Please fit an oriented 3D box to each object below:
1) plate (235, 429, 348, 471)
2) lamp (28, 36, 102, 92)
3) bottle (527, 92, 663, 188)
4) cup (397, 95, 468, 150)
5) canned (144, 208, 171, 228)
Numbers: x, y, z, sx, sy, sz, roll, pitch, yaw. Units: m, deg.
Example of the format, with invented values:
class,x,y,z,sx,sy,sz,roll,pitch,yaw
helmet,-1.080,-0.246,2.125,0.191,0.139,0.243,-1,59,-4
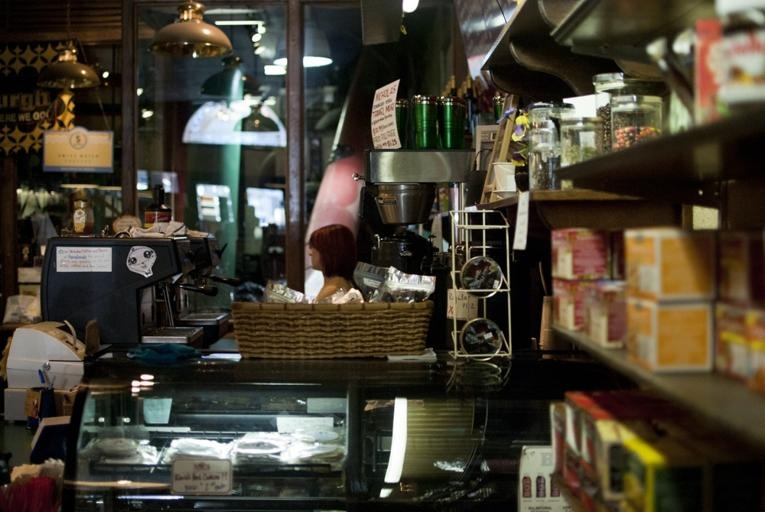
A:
class,x,y,z,sx,sy,sz,roll,pitch,yaw
plate,-0.367,0.768,3.483,0.343,0.080,0.194,1,-4,-1
lamp,-2.368,-1.348,6.528,0.494,0.372,0.532,-2,4,-29
bottle,0.751,-0.418,3.121,0.485,0.301,0.249,-1,2,-1
cup,0.241,-0.618,4.029,0.247,0.247,0.190,5,8,18
canned,-1.379,-0.246,5.280,0.149,0.165,0.148,1,1,20
